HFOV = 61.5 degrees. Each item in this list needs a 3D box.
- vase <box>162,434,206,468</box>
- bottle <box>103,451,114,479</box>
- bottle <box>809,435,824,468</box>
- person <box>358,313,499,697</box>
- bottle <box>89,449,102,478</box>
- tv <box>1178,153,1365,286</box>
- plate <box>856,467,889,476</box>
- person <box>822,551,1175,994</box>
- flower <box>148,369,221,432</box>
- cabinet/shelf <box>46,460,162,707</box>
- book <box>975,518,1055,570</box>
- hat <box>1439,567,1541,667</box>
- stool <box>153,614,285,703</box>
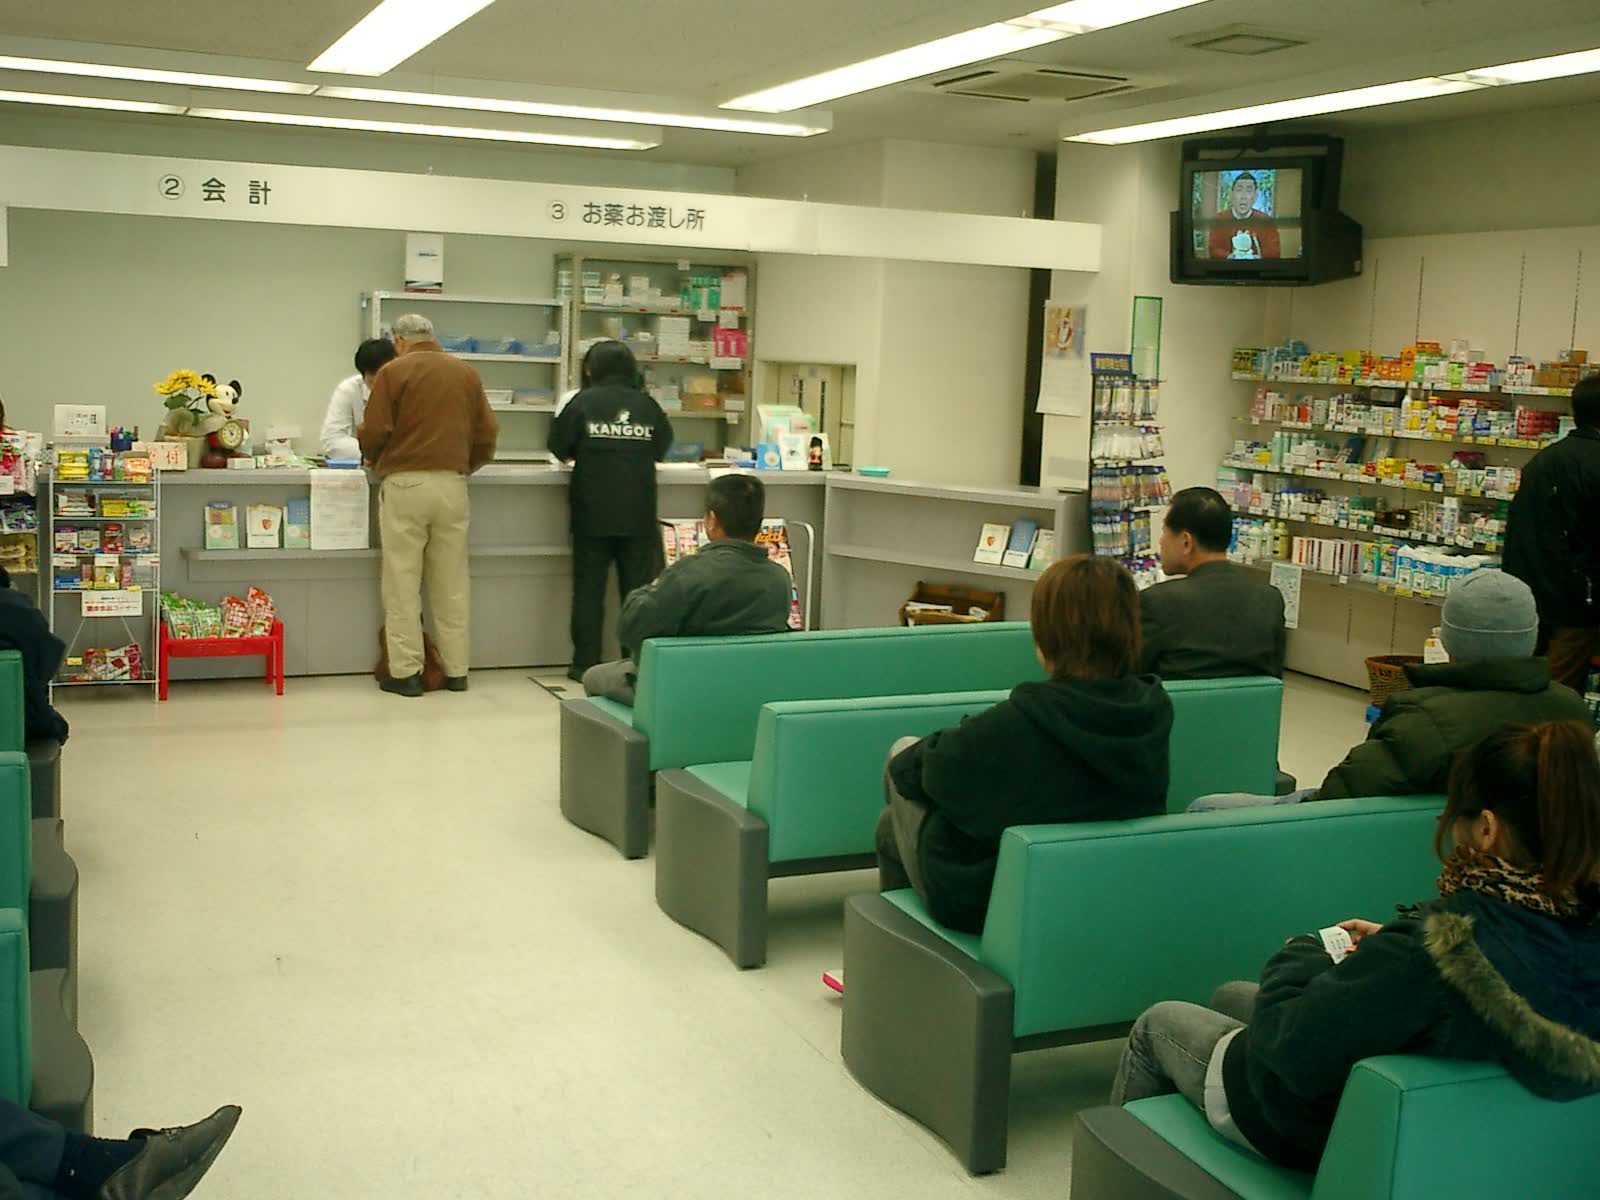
[{"bbox_3d":[-3.403,-0.806,7.398,0.191,0.168,0.336,-1,13,-16],"label":"vase"},{"bbox_3d":[-3.572,-0.693,6.973,0.054,0.135,0.096,2,12,-4],"label":"bottle"},{"bbox_3d":[0.092,-0.935,8.538,0.084,0.209,0.151,2,12,-2],"label":"bottle"},{"bbox_3d":[-2.064,-0.515,7.500,0.703,2.056,0.396,-3,13,-26],"label":"person"},{"bbox_3d":[-3.617,-0.696,6.930,0.076,0.150,0.049,-3,13,-26],"label":"bottle"},{"bbox_3d":[2.915,-2.282,8.494,0.836,1.007,1.173,-6,9,-42],"label":"tv"},{"bbox_3d":[0.442,-0.800,8.356,0.101,0.038,0.104,1,1,33],"label":"plate"},{"bbox_3d":[0.631,0.347,3.673,0.737,1.291,1.017,-5,16,-28],"label":"person"},{"bbox_3d":[-3.540,-1.144,7.666,0.276,0.348,0.613,-7,15,-37],"label":"flower"},{"bbox_3d":[-3.668,-0.142,7.096,0.589,1.330,0.528,-4,13,-28],"label":"cabinet/shelf"},{"bbox_3d":[1.196,-0.310,7.455,0.304,0.139,0.423,3,7,20],"label":"book"},{"bbox_3d":[1.826,0.049,3.596,0.226,0.269,0.275,4,15,18],"label":"hat"},{"bbox_3d":[-3.152,0.229,7.315,0.632,0.395,0.438,-4,10,-27],"label":"stool"}]
